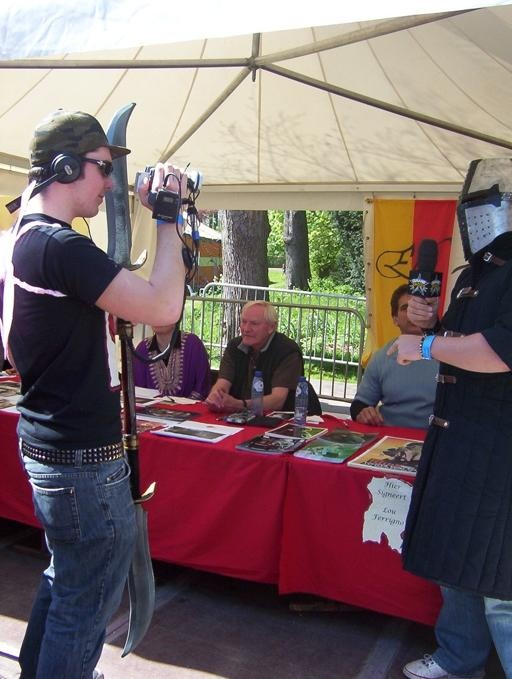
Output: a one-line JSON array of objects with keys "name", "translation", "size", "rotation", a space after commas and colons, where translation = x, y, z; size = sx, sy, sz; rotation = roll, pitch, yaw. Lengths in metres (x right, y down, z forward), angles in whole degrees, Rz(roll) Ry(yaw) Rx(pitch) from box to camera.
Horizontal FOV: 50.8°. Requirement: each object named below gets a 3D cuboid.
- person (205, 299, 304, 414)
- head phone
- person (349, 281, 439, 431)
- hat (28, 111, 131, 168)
[{"name": "person", "translation": [-0.016, 0.133, 3.491], "size": [0.427, 0.966, 0.372], "rotation": [2, 2, 28]}, {"name": "head phone", "translation": [-0.498, -0.378, 1.299], "size": [0.161, 0.131, 0.109], "rotation": [8, 12, 25]}, {"name": "person", "translation": [0.871, 0.158, 3.020], "size": [0.599, 0.936, 0.559], "rotation": [-4, -12, 22]}, {"name": "hat", "translation": [-0.432, -0.472, 1.329], "size": [0.162, 0.141, 0.257], "rotation": [2, 15, -1]}]
